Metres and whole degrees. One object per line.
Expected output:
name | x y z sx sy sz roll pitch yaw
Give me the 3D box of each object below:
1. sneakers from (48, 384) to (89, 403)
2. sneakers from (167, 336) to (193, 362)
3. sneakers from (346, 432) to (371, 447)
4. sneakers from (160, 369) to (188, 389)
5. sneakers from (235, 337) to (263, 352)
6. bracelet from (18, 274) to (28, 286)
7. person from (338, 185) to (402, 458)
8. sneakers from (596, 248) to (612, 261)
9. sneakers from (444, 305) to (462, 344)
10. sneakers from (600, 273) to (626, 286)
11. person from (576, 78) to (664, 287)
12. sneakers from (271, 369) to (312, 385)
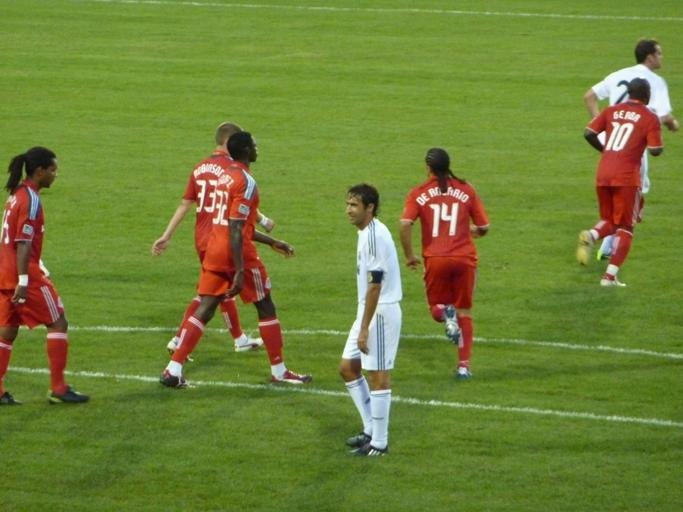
sneakers | -4.023 2.108 22.789 0.670 0.276 0.227 0 11 -13
sneakers | -2.533 1.463 24.027 0.254 0.276 0.661 2 -20 -3
sneakers | 0.266 2.715 22.153 0.446 0.154 0.147 -3 25 -6
sneakers | -2.514 1.931 23.212 0.535 0.230 0.202 9 1 -33
sneakers | -1.486 1.458 24.635 0.507 0.189 0.172 -6 22 -23
bracelet | -4.625 0.379 22.421 0.170 0.157 0.157 -1 8 -7
person | 0.420 0.949 21.966 0.870 3.912 0.703 7 10 27
sneakers | 4.618 0.014 26.955 0.243 0.156 0.176 3 2 -23
sneakers | 1.703 1.087 23.390 0.240 0.575 0.285 -8 -11 5
sneakers | 4.739 0.464 26.472 0.533 0.200 0.187 4 11 -40
person | 4.706 -1.190 25.790 1.230 3.596 0.898 3 9 7
sneakers | -0.739 1.913 23.597 0.699 0.254 0.225 -2 1 -1
